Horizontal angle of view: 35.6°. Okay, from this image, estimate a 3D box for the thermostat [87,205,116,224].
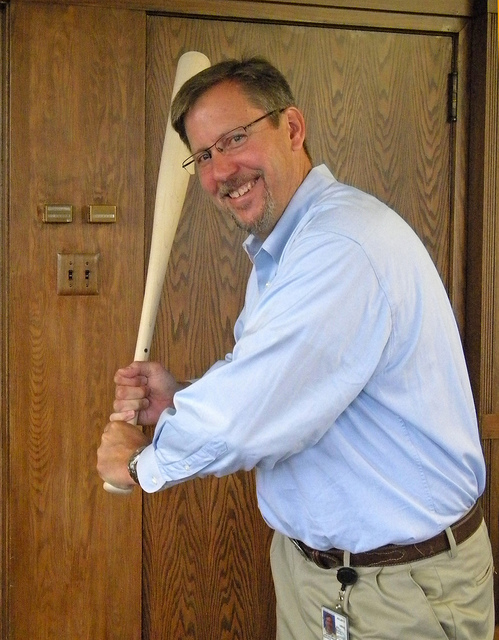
[{"bbox_3d":[-0.392,-0.281,2.041,0.072,0.054,0.043,0,1,-11],"label":"thermostat"}]

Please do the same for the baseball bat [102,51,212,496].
[{"bbox_3d":[-0.239,-0.157,1.861,0.116,1.226,0.128,5,-17,13],"label":"baseball bat"}]

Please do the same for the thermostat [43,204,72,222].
[{"bbox_3d":[-0.500,-0.279,2.022,0.069,0.051,0.040,0,-2,-9],"label":"thermostat"}]
